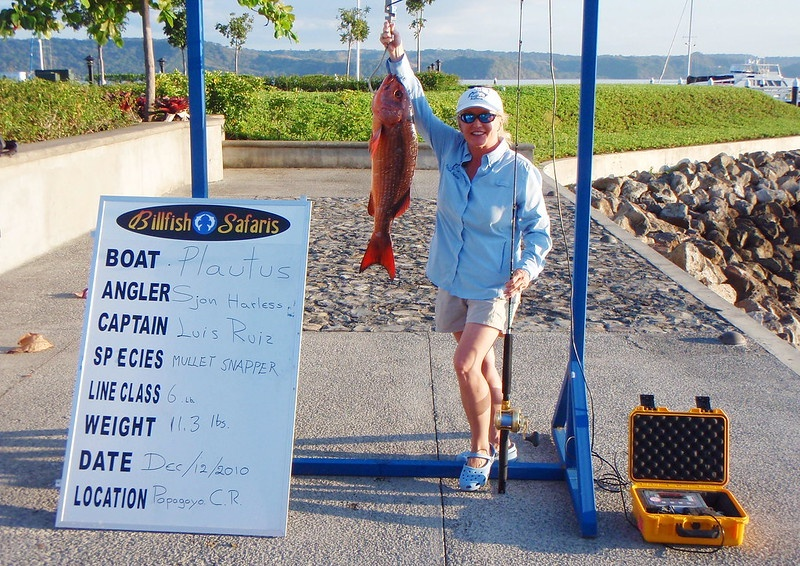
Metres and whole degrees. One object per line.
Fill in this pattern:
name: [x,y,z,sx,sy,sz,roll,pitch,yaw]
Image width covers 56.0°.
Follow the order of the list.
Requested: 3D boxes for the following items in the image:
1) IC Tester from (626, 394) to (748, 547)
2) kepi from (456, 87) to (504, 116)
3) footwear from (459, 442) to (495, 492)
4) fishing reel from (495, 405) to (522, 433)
IC Tester: [1.670,1.091,4.376,0.672,0.678,0.515,3,22,1]
kepi: [0.478,-1.106,4.482,0.227,0.183,0.388,2,-2,9]
footwear: [0.456,1.147,4.744,0.193,0.163,0.448,-1,13,13]
fishing reel: [0.650,0.817,4.533,0.134,0.149,0.140,1,-22,3]
